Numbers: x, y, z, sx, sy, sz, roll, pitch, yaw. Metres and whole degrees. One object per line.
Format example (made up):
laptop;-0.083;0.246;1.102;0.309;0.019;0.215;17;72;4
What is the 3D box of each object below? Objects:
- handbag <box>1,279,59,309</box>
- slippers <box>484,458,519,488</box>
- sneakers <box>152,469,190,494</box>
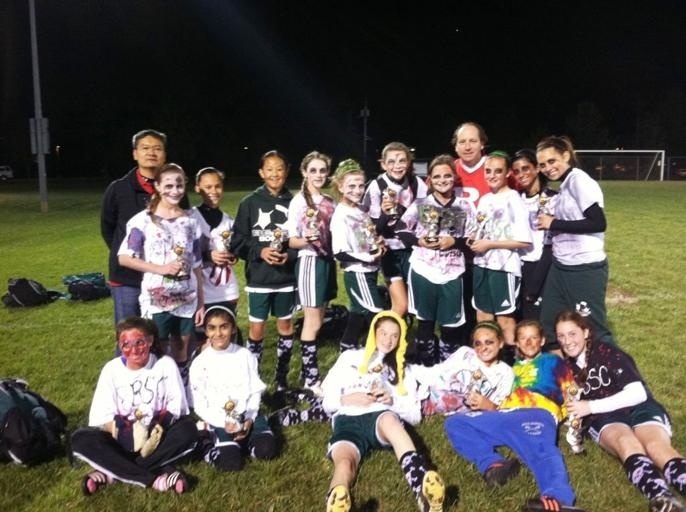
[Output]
handbag;-5.746;0.657;9.549;0.934;0.482;0.565;-10;17;-30
slippers;1.444;1.954;4.764;0.366;0.161;0.158;-14;-6;-20
sneakers;-1.548;2.016;4.661;0.360;0.184;0.148;6;-21;7
